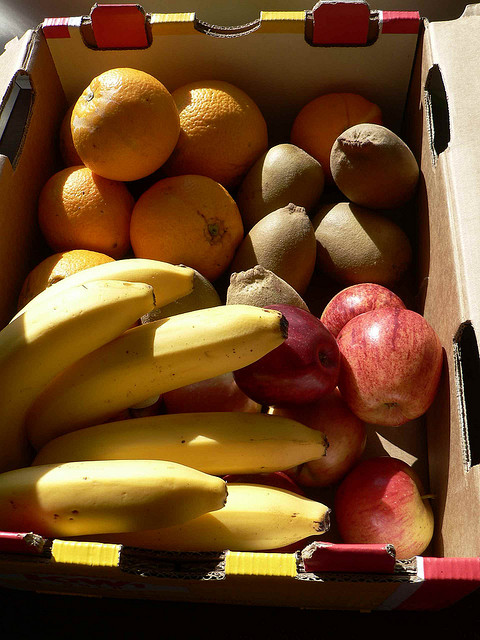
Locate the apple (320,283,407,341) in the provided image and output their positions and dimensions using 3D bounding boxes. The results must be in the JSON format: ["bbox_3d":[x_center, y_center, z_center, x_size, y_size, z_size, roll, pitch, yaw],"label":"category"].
[{"bbox_3d":[0.146,-0.005,0.747,0.076,0.074,0.075,-11,64,25],"label":"apple"}]

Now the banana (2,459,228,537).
[{"bbox_3d":[-0.102,0.140,0.506,0.184,0.051,0.050,-1,56,3],"label":"banana"}]

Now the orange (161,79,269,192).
[{"bbox_3d":[-0.045,-0.258,0.897,0.150,0.138,0.133,-20,34,-32],"label":"orange"}]

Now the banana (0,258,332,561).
[{"bbox_3d":[-0.083,0.083,0.544,0.292,0.101,0.229,-19,81,-5],"label":"banana"}]

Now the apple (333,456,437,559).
[{"bbox_3d":[0.143,0.190,0.634,0.100,0.071,0.114,-5,23,-11],"label":"apple"}]

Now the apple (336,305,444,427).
[{"bbox_3d":[0.150,0.043,0.699,0.115,0.117,0.109,-3,54,6],"label":"apple"}]

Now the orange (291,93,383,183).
[{"bbox_3d":[0.123,-0.273,0.933,0.150,0.119,0.115,-26,41,-32],"label":"orange"}]

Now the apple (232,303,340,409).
[{"bbox_3d":[0.042,0.043,0.671,0.099,0.101,0.103,7,18,1],"label":"apple"}]

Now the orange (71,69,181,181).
[{"bbox_3d":[-0.139,-0.232,0.766,0.127,0.106,0.099,-26,58,-13],"label":"orange"}]
